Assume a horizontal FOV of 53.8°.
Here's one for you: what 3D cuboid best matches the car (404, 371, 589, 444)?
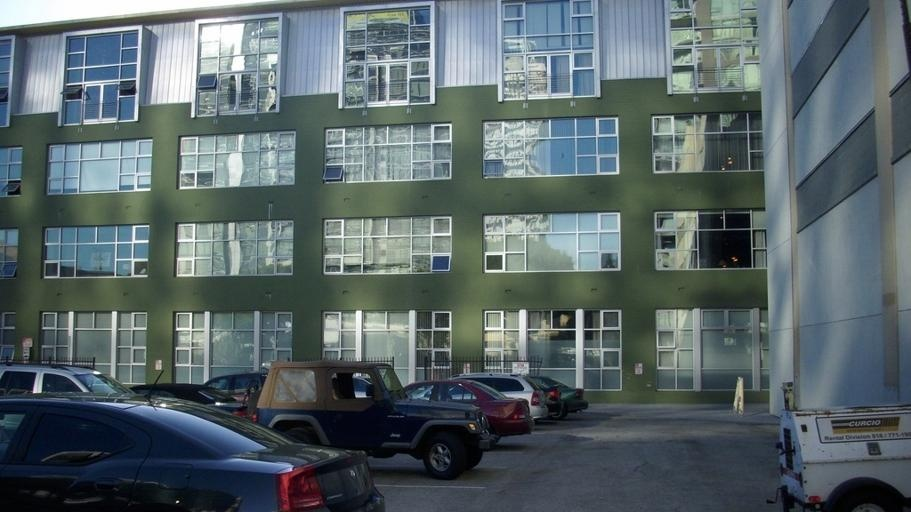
[{"bbox_3d":[1.894,6.067,36.212,6.172,1.875,2.668,-1,-5,16],"label":"car"}]

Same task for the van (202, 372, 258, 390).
[{"bbox_3d":[-10.068,5.741,41.065,1.847,0.878,1.079,0,-4,15],"label":"van"}]
